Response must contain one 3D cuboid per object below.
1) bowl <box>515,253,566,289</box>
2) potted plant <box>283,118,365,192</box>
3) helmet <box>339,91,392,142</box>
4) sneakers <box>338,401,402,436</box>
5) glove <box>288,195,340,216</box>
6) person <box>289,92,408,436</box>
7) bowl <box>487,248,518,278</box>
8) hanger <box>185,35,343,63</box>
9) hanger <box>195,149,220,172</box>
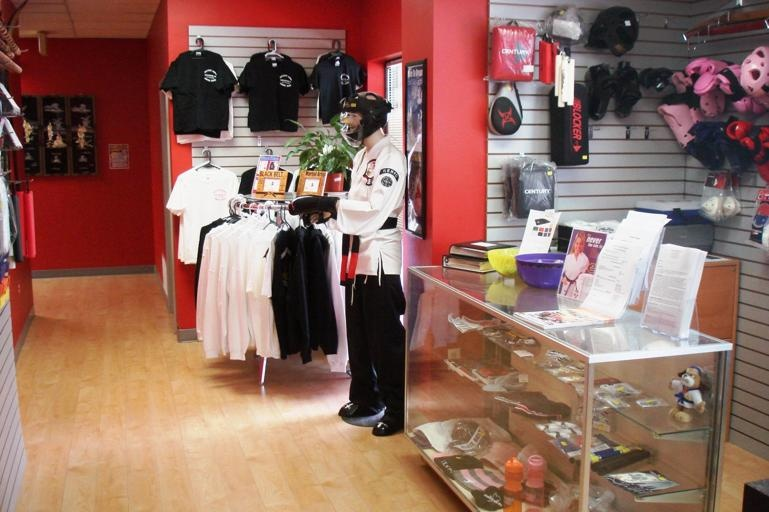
[{"bbox_3d":[0.878,0.070,3.085,0.222,0.111,0.219,-1,1,0],"label":"bowl"},{"bbox_3d":[-0.514,-0.845,5.113,0.486,0.764,0.559,-10,15,-29],"label":"potted plant"},{"bbox_3d":[-0.159,-1.002,3.902,0.370,0.303,0.312,-2,10,-9],"label":"helmet"},{"bbox_3d":[-0.100,1.239,4.185,0.394,0.154,0.217,8,2,-24],"label":"sneakers"},{"bbox_3d":[-0.497,-0.346,3.881,0.275,0.098,0.161,-1,2,23],"label":"glove"},{"bbox_3d":[-0.184,0.062,4.025,0.697,2.454,0.548,1,12,6],"label":"person"},{"bbox_3d":[0.715,0.036,3.297,0.168,0.112,0.167,1,5,0],"label":"bowl"},{"bbox_3d":[-1.264,-2.230,5.873,1.711,0.447,0.086,-3,12,-15],"label":"hanger"},{"bbox_3d":[-1.898,-1.017,5.787,0.276,0.238,0.105,0,2,-8],"label":"hanger"}]
